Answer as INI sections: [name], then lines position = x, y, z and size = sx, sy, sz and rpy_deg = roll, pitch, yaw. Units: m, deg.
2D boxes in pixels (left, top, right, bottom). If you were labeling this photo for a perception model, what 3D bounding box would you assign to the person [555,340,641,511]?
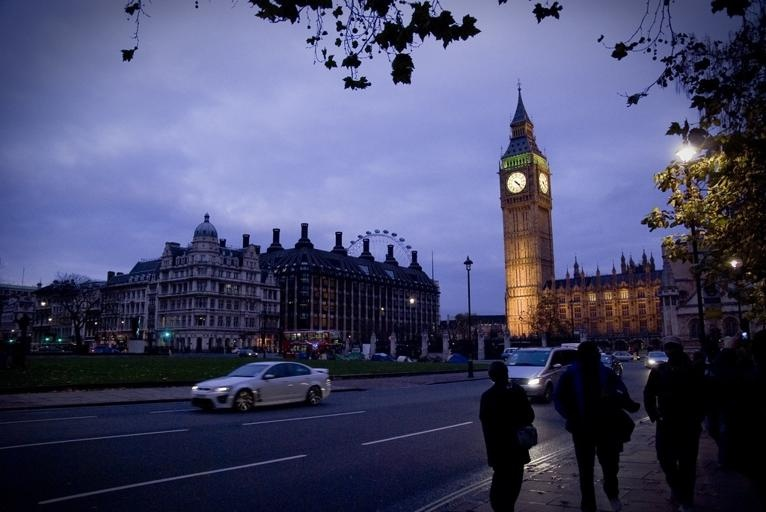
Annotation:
[person]
position = 4.021, 3.175, 12.626
size = 1.351, 3.106, 0.641
rpy_deg = 1, -9, -16
